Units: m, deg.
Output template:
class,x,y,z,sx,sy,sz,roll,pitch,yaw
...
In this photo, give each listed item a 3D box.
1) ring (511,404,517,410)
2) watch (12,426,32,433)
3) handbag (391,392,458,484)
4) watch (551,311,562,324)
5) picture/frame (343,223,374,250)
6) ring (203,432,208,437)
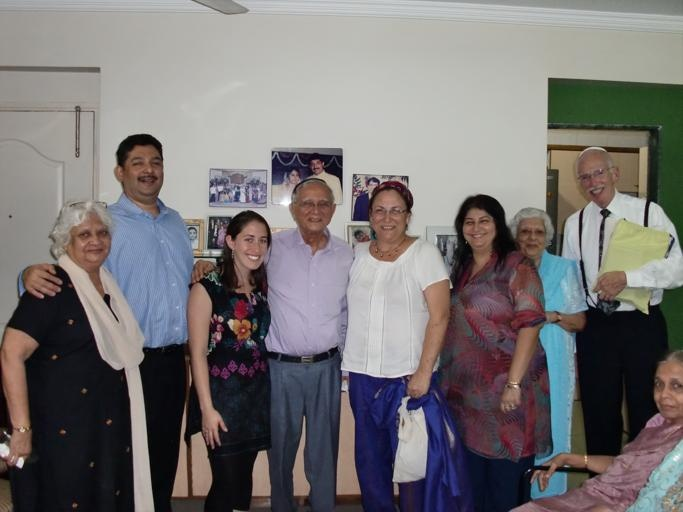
class,x,y,z,sx,sy,sz,roll,pitch,yaw
ring,0.928,0.815,3.411,0.034,0.021,0.028,8,-33,-5
watch,-1.590,0.858,3.117,0.071,0.035,0.021,-1,2,-17
handbag,0.382,1.040,3.569,0.234,0.501,0.342,-4,-22,31
watch,1.288,0.372,3.799,0.052,0.043,0.071,7,-21,12
picture/frame,0.116,-0.133,4.390,0.157,0.170,0.011,-16,-13,-10
ring,-0.754,0.973,3.442,0.021,0.030,0.011,-1,-2,17
